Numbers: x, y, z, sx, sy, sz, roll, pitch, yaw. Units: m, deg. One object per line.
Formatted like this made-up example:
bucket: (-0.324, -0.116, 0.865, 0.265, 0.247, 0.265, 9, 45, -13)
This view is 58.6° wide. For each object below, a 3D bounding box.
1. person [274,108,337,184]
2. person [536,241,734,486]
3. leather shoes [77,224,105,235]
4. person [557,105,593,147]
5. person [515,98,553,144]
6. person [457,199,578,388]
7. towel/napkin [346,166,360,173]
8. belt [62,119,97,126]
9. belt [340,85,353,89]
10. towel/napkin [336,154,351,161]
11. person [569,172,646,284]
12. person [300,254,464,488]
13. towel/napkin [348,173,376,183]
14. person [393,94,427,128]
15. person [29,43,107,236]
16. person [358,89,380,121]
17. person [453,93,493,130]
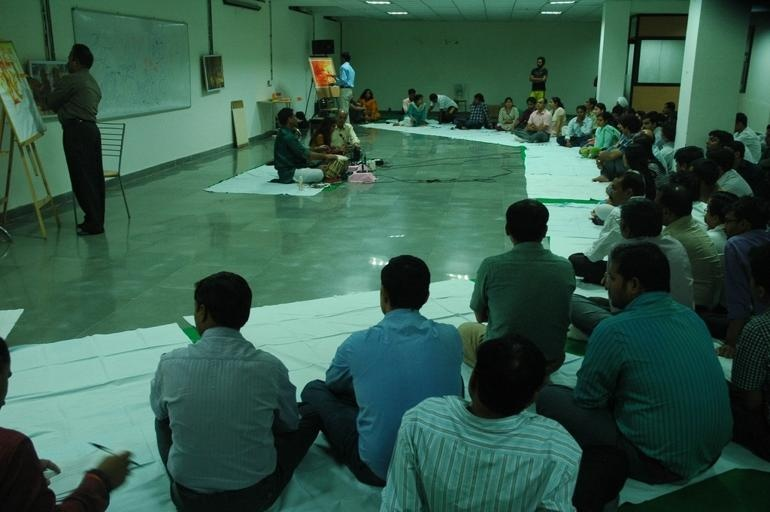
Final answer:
person: (-1.136, -1.490, 9.201, 0.662, 0.962, 0.641, 10, 18, 34)
person: (1.330, 0.602, 3.665, 0.986, 1.193, 0.828, -9, 14, -15)
leather shoes: (-2.961, -0.259, 6.880, 0.233, 0.101, 0.123, -1, 7, 8)
person: (3.532, -2.392, 12.564, 0.633, 0.737, 0.559, 13, 19, 40)
person: (2.963, -2.705, 13.601, 0.676, 0.793, 1.015, 3, 15, 12)
person: (0.852, 0.226, 4.384, 0.771, 1.225, 0.923, 4, 14, 26)
towel/napkin: (-0.445, -1.228, 9.655, 0.162, 0.084, 0.336, -1, 15, -1)
belt: (-2.993, -1.310, 6.723, 0.288, 0.068, 0.084, -8, 17, -27)
belt: (-0.936, -4.034, 16.292, 0.312, 0.112, 0.440, -2, 15, -5)
towel/napkin: (-0.586, -1.364, 9.438, 0.133, 0.069, 0.413, -1, 15, -4)
person: (1.851, -0.261, 5.771, 0.612, 0.888, 0.690, 8, 13, 9)
person: (0.035, 0.505, 3.921, 1.092, 1.361, 1.082, -4, 20, -9)
towel/napkin: (-0.317, -1.071, 9.330, 0.381, 0.117, 0.317, -1, 15, -1)
person: (0.648, -3.541, 16.618, 0.636, 0.717, 0.936, 6, 16, 25)
person: (-3.048, -1.146, 6.780, 0.478, 1.820, 0.461, -4, 15, -11)
person: (-0.462, -3.927, 17.842, 0.414, 0.786, 1.107, 3, 15, 13)
person: (2.068, -3.383, 15.999, 0.865, 0.769, 0.689, 0, 15, 2)
